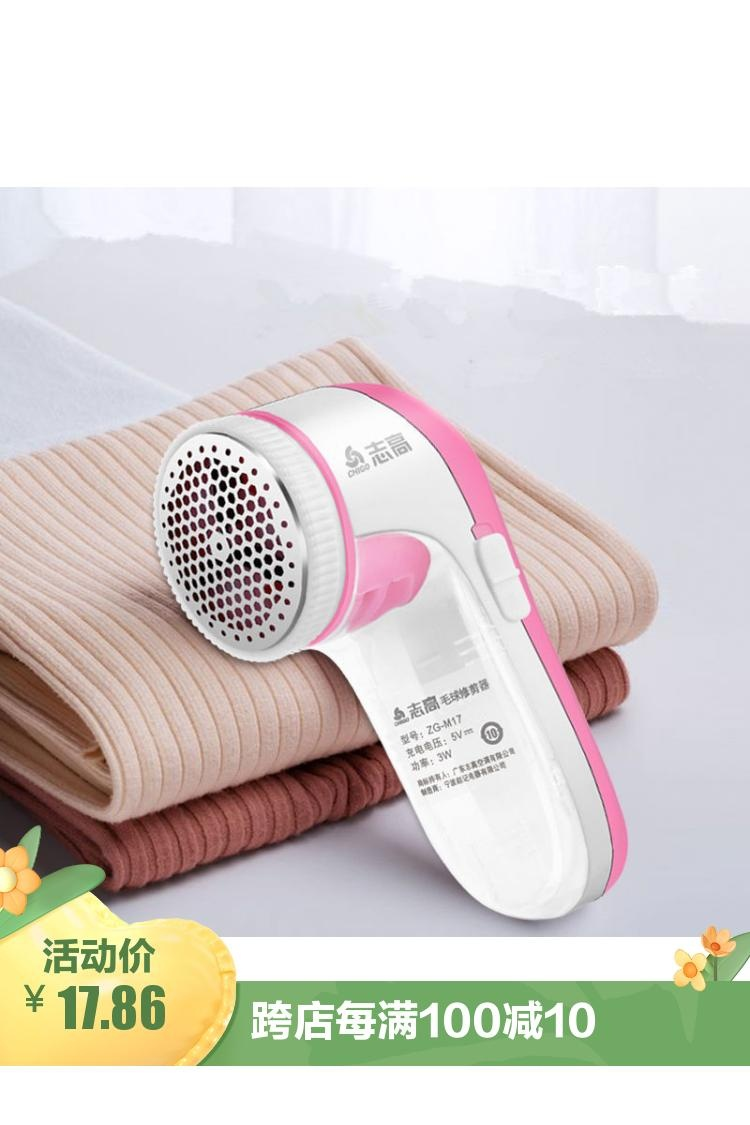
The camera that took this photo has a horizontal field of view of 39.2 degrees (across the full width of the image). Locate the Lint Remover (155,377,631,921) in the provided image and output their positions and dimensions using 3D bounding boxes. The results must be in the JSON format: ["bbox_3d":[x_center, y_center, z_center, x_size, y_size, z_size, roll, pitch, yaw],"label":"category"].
[{"bbox_3d":[0.009,0.062,0.714,0.294,0.363,0.142,8,-21,-39],"label":"Lint Remover"}]
